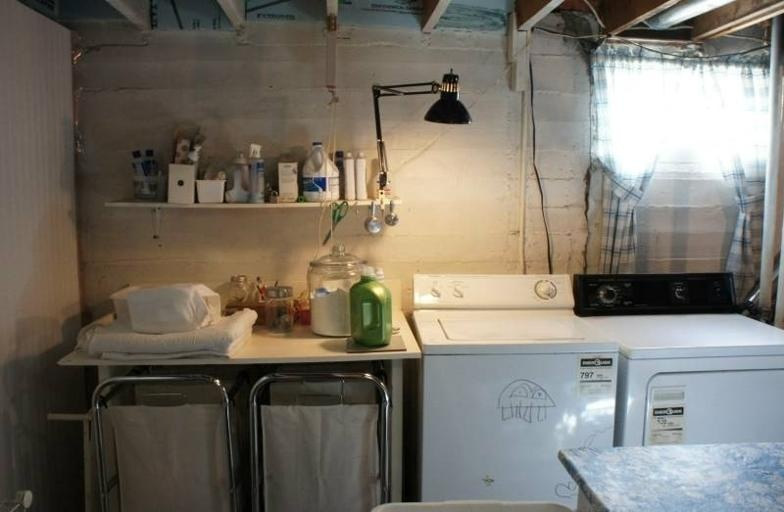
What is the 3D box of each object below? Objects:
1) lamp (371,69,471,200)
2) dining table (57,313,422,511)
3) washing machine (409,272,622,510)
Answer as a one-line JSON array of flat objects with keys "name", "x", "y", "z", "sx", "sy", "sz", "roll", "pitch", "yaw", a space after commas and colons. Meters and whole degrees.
[{"name": "lamp", "x": 0.143, "y": -0.700, "z": 3.810, "sx": 0.485, "sy": 0.651, "sz": 0.484, "roll": -2, "pitch": 3, "yaw": -10}, {"name": "dining table", "x": -0.870, "y": 1.218, "z": 4.390, "sx": 1.406, "sy": 1.072, "sz": 2.399, "roll": -9, "pitch": -16, "yaw": 22}, {"name": "washing machine", "x": 0.648, "y": 0.708, "z": 3.642, "sx": 1.043, "sy": 1.187, "sz": 0.746, "roll": -1, "pitch": 3, "yaw": 1}]
